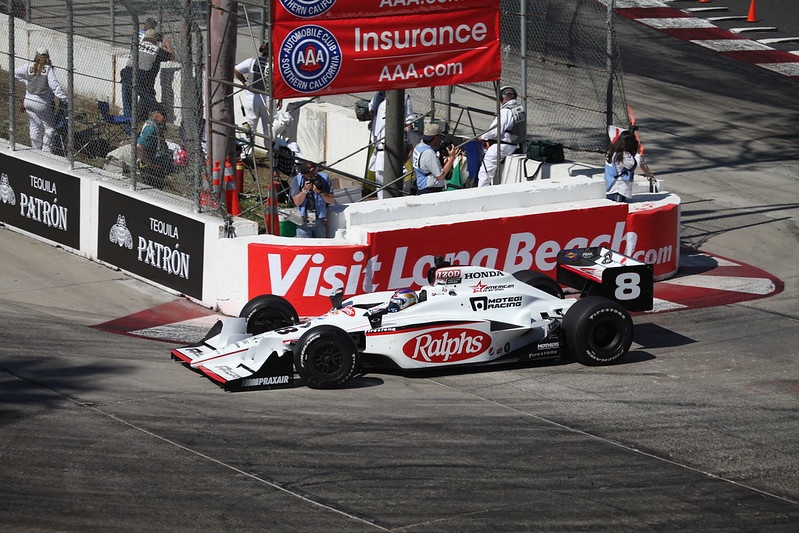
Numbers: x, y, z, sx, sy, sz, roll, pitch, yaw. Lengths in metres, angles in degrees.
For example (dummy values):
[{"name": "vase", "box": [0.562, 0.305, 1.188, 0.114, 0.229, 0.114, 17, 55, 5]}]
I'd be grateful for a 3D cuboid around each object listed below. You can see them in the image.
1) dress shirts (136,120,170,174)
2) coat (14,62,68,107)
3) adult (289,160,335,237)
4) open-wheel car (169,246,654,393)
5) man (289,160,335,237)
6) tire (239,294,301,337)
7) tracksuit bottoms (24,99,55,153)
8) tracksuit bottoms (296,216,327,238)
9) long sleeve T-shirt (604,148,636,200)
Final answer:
[{"name": "dress shirts", "box": [-3.955, -1.911, 20.255, 0.328, 0.838, 0.713, -1, 9, -39]}, {"name": "coat", "box": [-6.459, -3.221, 22.754, 1.595, 0.595, 0.361, 13, 35, 21]}, {"name": "adult", "box": [-1.359, -1.031, 19.871, 0.672, 1.168, 0.507, 5, 8, -5]}, {"name": "open-wheel car", "box": [0.293, 0.795, 17.877, 6.285, 1.006, 2.377, -3, 13, -15]}, {"name": "man", "box": [-1.345, -1.032, 19.890, 0.624, 1.168, 0.521, 4, 8, -10]}, {"name": "tire", "box": [-1.815, 0.713, 17.896, 0.660, 0.446, 0.232, -16, 14, -10]}, {"name": "tracksuit bottoms", "box": [-6.350, -2.482, 22.365, 0.436, 0.914, 1.023, 3, 7, -22]}, {"name": "tracksuit bottoms", "box": [-1.352, -0.631, 19.967, 0.571, 0.492, 0.344, -1, 8, -5]}, {"name": "long sleeve T-shirt", "box": [3.761, -1.518, 21.329, 0.572, 0.782, 0.361, 6, 8, 6]}]
